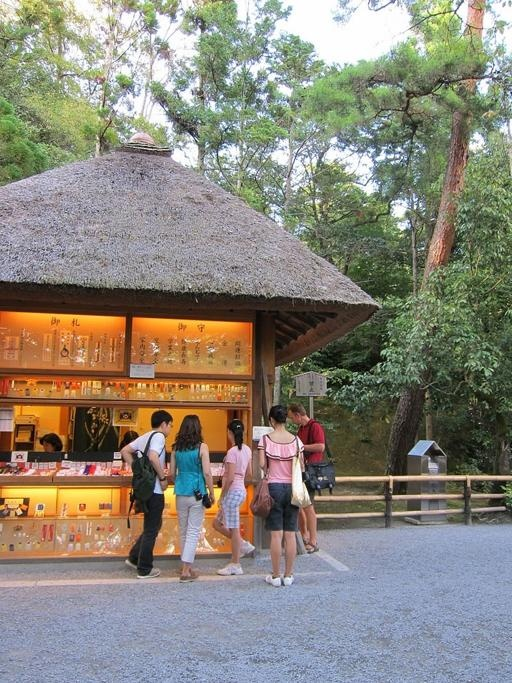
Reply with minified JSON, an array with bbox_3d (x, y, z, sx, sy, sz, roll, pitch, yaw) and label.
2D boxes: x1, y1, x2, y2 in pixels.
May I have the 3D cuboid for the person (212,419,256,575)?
[{"bbox_3d":[-0.206,1.387,4.974,0.275,1.374,0.498,0,-5,24],"label":"person"}]

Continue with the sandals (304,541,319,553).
[{"bbox_3d":[0.590,2.201,5.979,0.147,0.099,0.179,1,-4,7],"label":"sandals"}]

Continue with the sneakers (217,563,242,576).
[{"bbox_3d":[-0.219,2.004,4.916,0.251,0.102,0.086,2,-15,-6],"label":"sneakers"}]

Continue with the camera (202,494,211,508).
[{"bbox_3d":[-0.396,1.328,4.652,0.051,0.133,0.057,-3,38,10],"label":"camera"}]

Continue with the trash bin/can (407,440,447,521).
[{"bbox_3d":[2.605,2.083,8.496,0.495,1.100,0.426,7,-12,-18],"label":"trash bin/can"}]

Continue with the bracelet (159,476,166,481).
[{"bbox_3d":[-0.792,1.158,4.711,0.036,0.044,0.094,1,-4,6],"label":"bracelet"}]

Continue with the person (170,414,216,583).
[{"bbox_3d":[-0.556,1.314,4.709,0.376,1.370,0.248,2,-5,0],"label":"person"}]

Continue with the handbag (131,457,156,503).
[{"bbox_3d":[-0.941,1.143,4.629,0.195,0.420,0.186,2,-5,3],"label":"handbag"}]

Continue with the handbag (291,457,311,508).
[{"bbox_3d":[0.378,1.171,4.623,0.136,0.417,0.287,0,-5,22],"label":"handbag"}]
